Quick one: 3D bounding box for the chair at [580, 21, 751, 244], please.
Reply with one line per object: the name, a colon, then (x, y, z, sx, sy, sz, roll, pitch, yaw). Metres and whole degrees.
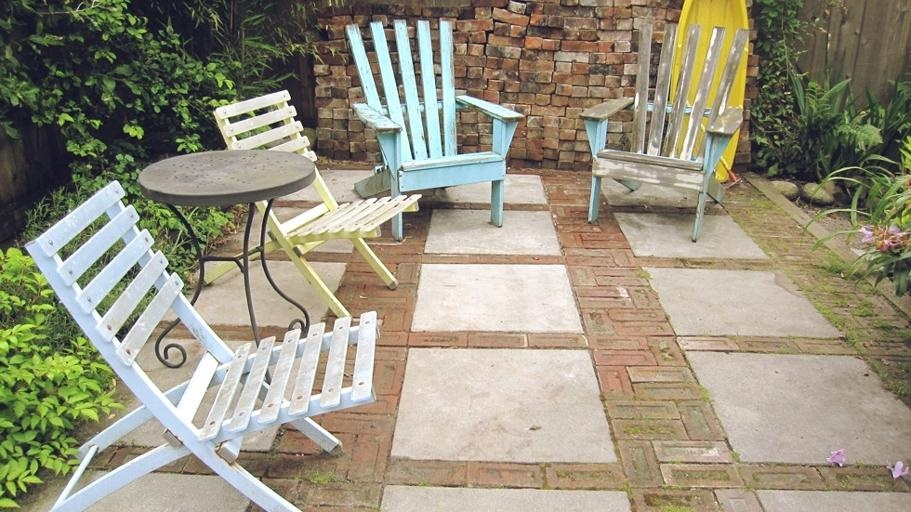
chair: (2.008, -1.178, 5.428, 1.746, 1.877, 1.786, 13, 38, 26)

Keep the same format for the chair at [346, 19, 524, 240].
chair: (-0.182, -1.235, 5.427, 1.757, 1.860, 1.783, -13, 43, -18)
